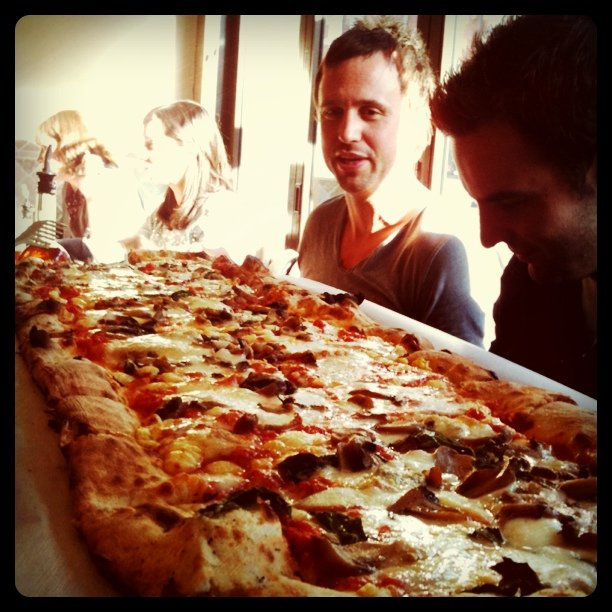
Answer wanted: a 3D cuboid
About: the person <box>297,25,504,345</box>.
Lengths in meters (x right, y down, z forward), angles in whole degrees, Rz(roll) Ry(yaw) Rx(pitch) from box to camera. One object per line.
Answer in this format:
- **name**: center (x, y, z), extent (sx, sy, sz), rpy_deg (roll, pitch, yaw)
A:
- **person**: center (0.484, -0.628, 2.490), extent (0.587, 1.180, 1.101), rpy_deg (-19, 31, -36)
